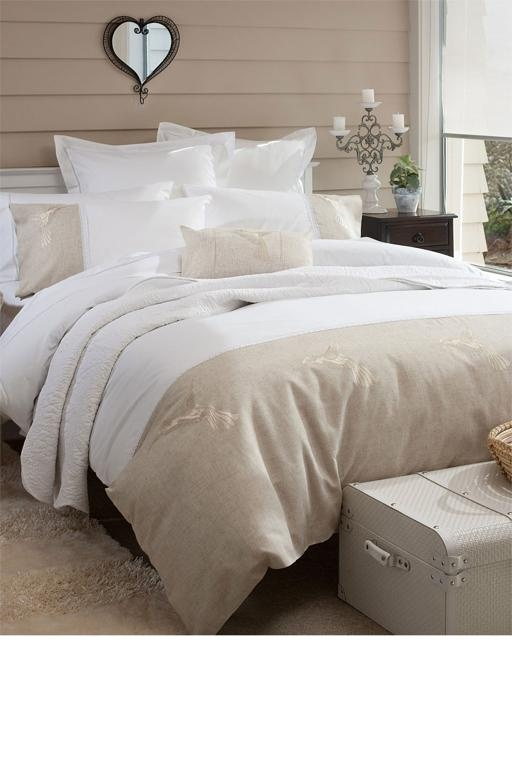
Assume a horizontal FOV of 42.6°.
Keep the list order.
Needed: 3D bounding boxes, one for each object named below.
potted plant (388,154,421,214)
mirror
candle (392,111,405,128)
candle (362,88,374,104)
[{"bbox_3d":[0.824,-1.093,3.611,0.212,0.293,0.187,-9,13,-17],"label":"potted plant"},{"bbox_3d":[-0.576,-1.604,3.201,0.489,0.485,0.059,-3,19,-17],"label":"mirror"},{"bbox_3d":[0.796,-1.447,3.645,0.054,0.104,0.043,0,9,7],"label":"candle"},{"bbox_3d":[0.613,-1.549,3.556,0.064,0.113,0.092,-1,9,6],"label":"candle"}]
